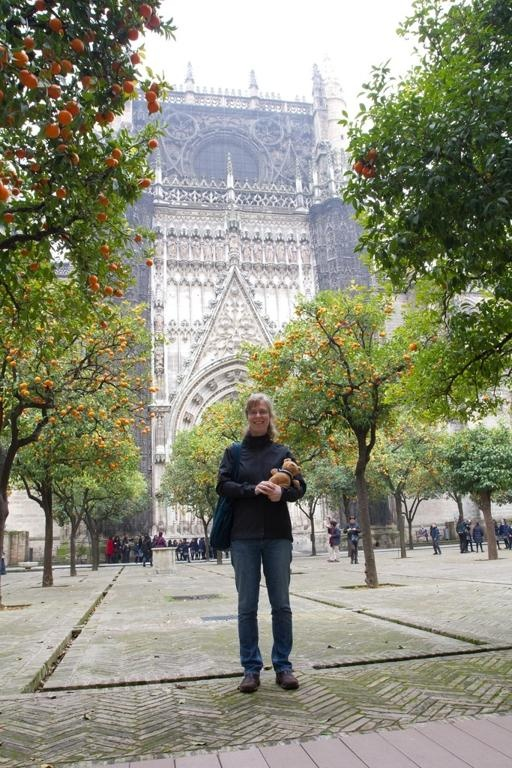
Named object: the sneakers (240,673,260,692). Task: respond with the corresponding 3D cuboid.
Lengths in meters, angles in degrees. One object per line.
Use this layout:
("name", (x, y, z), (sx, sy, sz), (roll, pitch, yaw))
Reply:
("sneakers", (-0.045, 1.848, 3.910), (0.124, 0.084, 0.163), (-2, -12, -6))

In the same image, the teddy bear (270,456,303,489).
("teddy bear", (0.198, 0.602, 4.292), (0.127, 0.093, 0.174), (33, 25, 5))

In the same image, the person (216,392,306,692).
("person", (0.039, 0.983, 4.279), (0.616, 1.979, 0.592), (0, -12, -15))

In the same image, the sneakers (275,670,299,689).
("sneakers", (0.201, 1.863, 3.974), (0.070, 0.073, 0.178), (3, -20, -13))
